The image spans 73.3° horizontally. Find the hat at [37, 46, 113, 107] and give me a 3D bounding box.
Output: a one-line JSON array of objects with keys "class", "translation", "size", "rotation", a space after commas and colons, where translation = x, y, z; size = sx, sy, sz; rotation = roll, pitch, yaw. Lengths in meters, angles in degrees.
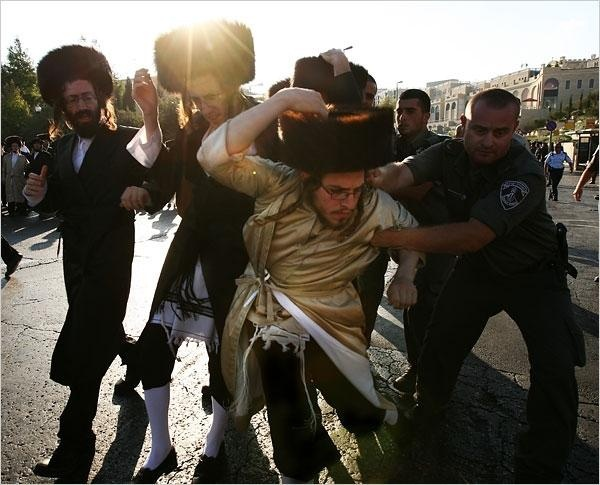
[{"class": "hat", "translation": [-1.534, -1.155, 2.788], "size": [0.475, 0.389, 0.250], "rotation": [-13, 20, -31]}]

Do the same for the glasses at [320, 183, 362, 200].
[{"class": "glasses", "translation": [0.187, -0.222, 1.799], "size": [0.184, 0.069, 0.043], "rotation": [-5, 17, -9]}]

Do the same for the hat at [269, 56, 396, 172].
[{"class": "hat", "translation": [0.117, -0.566, 2.064], "size": [0.553, 0.579, 0.806], "rotation": [-4, 29, -1]}]

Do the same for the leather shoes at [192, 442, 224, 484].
[{"class": "leather shoes", "translation": [-0.548, 1.370, 2.454], "size": [0.210, 0.128, 0.154], "rotation": [-8, 19, -18]}]

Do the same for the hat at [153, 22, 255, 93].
[{"class": "hat", "translation": [-0.535, -1.019, 2.233], "size": [0.567, 0.358, 0.332], "rotation": [-4, 18, -7]}]

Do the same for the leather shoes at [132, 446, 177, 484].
[{"class": "leather shoes", "translation": [-0.847, 1.375, 2.474], "size": [0.098, 0.122, 0.300], "rotation": [-4, 6, 36]}]

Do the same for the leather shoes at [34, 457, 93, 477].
[{"class": "leather shoes", "translation": [-1.407, 1.348, 2.391], "size": [0.304, 0.156, 0.073], "rotation": [-3, 17, -3]}]
